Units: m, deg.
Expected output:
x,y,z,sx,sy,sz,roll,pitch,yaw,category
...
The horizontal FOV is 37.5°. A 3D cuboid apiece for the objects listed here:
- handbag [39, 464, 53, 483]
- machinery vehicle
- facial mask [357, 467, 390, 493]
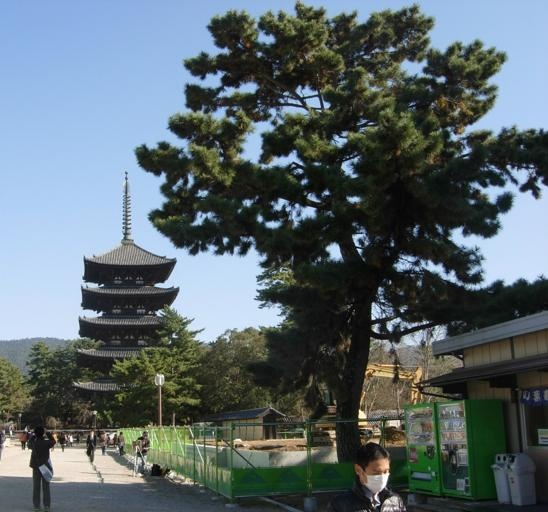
x,y,z,sx,sy,sz,roll,pitch,yaw,category
-4.766,4.543,16.880,0.265,0.350,0.222,2,-15,-16,handbag
3.977,6.352,34.467,5.096,3.450,1.467,0,4,-6,machinery vehicle
1.253,2.754,9.844,0.276,0.222,0.270,11,-28,-17,facial mask
